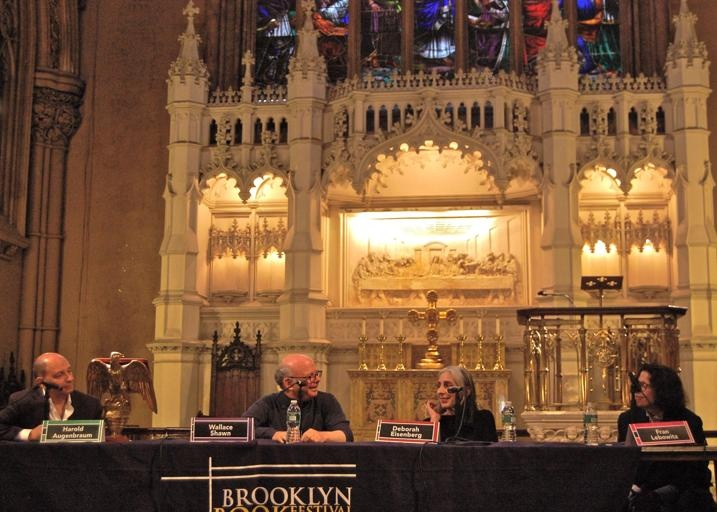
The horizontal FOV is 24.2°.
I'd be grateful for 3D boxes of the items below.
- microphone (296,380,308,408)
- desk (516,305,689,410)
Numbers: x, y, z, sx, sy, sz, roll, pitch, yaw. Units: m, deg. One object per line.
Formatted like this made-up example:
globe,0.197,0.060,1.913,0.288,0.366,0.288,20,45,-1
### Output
microphone,-0.797,1.958,23.634,0.178,0.395,0.264,0,-4,-2
desk,3.727,1.601,26.949,2.155,1.244,2.104,9,-14,-38
